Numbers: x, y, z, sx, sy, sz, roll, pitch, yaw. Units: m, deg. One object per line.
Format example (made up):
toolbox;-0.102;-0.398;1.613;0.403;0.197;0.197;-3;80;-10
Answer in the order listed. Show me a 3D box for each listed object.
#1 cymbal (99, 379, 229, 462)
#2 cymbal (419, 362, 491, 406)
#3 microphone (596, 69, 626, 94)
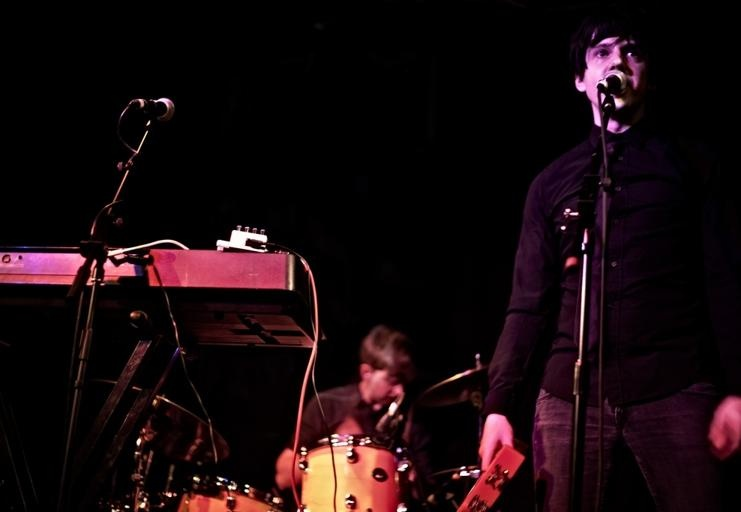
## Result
cymbal;-1.070;0.757;3.493;0.542;0.117;0.563;5;-22;5
cymbal;0.477;0.730;3.795;0.284;0.071;0.291;3;-33;-27
microphone;1.067;-0.760;3.060;0.108;0.081;0.090;-2;-33;25
